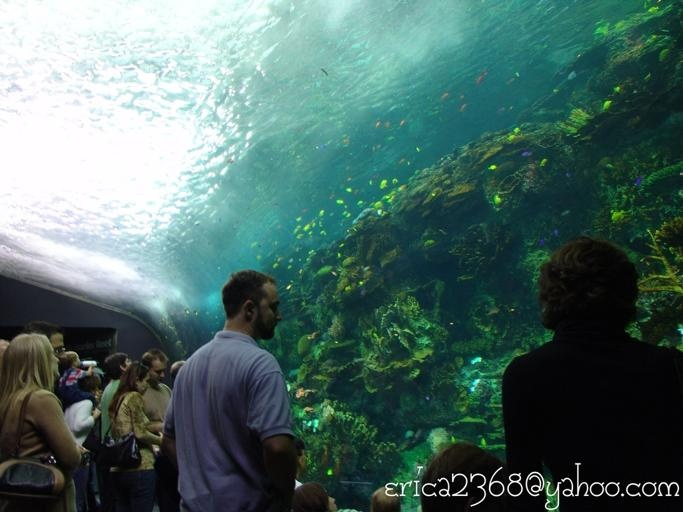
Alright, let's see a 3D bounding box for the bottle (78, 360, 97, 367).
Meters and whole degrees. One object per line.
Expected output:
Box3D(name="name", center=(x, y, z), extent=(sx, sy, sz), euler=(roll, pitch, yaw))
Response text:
Box3D(name="bottle", center=(-5.458, 2.262, 10.771), extent=(0.422, 0.114, 0.306), euler=(-3, -5, 25))
